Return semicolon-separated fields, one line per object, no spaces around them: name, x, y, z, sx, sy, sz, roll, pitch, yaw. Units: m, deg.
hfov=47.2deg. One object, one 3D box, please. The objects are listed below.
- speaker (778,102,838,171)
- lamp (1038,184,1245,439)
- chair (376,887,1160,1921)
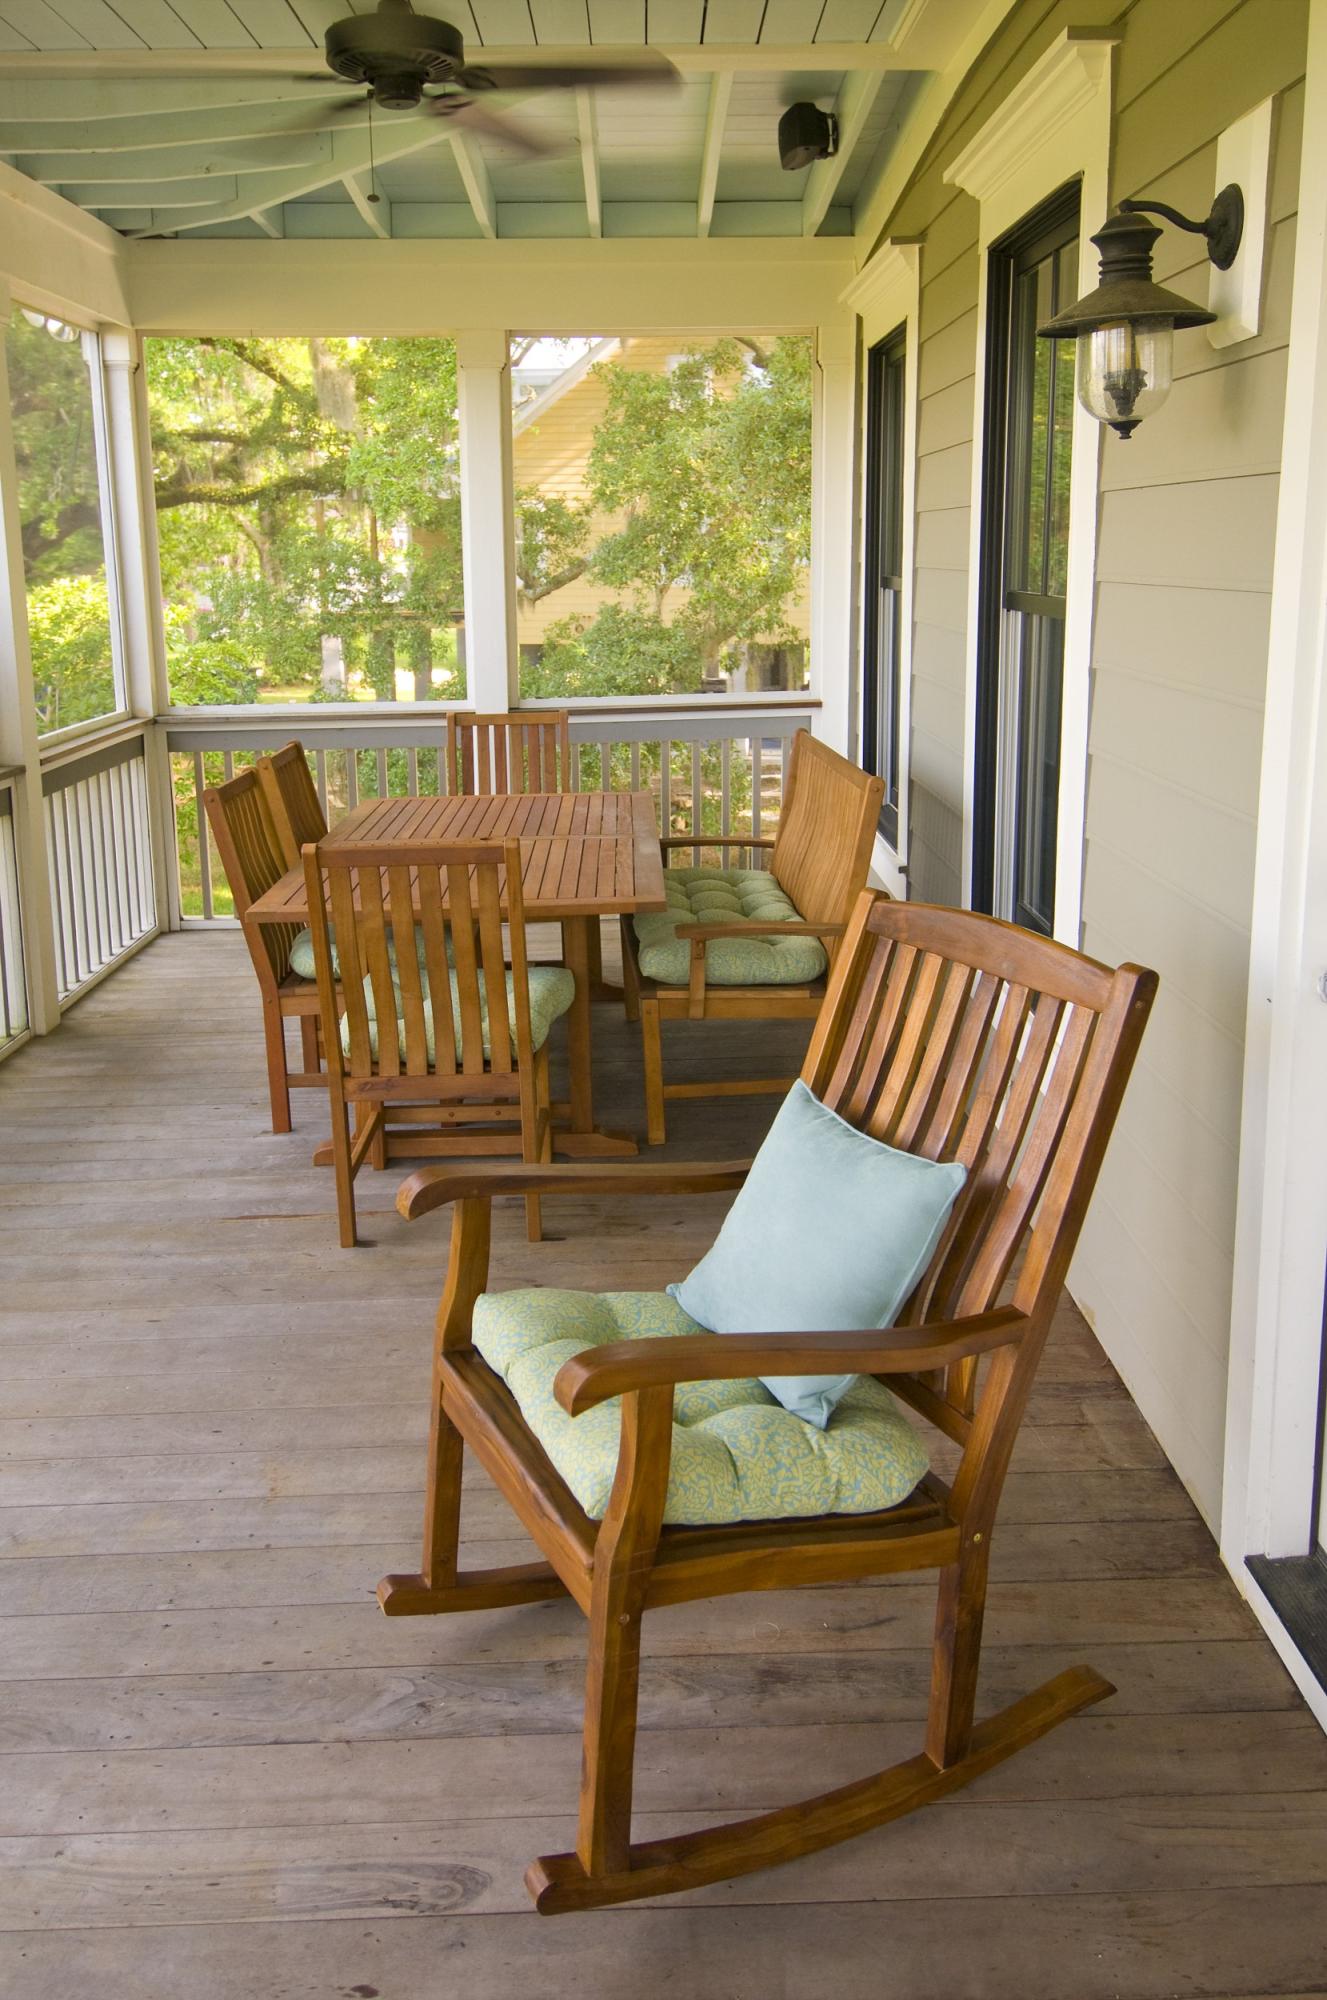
speaker;0.454;-2.716;4.736;0.169;0.223;0.346;1;11;8
lamp;0.598;-0.872;1.916;0.229;0.317;0.344;2;12;13
chair;0.169;0.304;2.020;1.030;1.273;0.808;-2;10;-20
